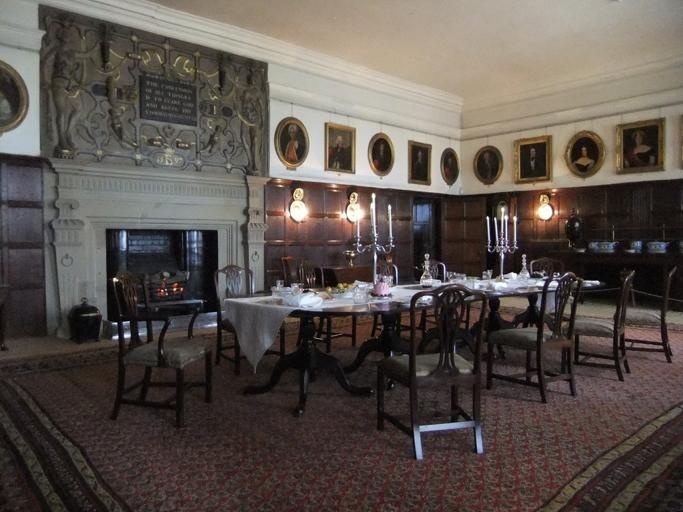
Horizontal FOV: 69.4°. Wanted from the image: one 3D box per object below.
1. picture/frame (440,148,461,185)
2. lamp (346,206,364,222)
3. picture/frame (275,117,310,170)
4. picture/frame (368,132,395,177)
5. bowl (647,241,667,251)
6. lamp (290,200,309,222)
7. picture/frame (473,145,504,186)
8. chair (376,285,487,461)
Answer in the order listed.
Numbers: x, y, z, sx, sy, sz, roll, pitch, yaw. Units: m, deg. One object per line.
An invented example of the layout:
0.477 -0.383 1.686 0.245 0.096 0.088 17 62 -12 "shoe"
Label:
2.658 -2.233 12.236 0.068 1.048 0.825 4 6 39 "picture/frame"
0.300 -0.903 10.513 0.166 0.369 0.504 1 4 43 "lamp"
-0.985 -2.176 9.454 0.897 1.143 0.141 -8 10 -44 "picture/frame"
0.876 -2.227 10.889 0.041 0.983 0.887 -12 18 -37 "picture/frame"
6.077 -0.247 9.524 0.289 0.119 0.178 -2 6 -15 "bowl"
-0.832 -0.886 9.669 0.103 0.425 0.472 1 4 38 "lamp"
3.597 -2.228 12.014 0.115 1.236 0.922 -6 5 -40 "picture/frame"
0.786 0.884 4.372 0.931 1.350 1.182 -1 3 12 "chair"
